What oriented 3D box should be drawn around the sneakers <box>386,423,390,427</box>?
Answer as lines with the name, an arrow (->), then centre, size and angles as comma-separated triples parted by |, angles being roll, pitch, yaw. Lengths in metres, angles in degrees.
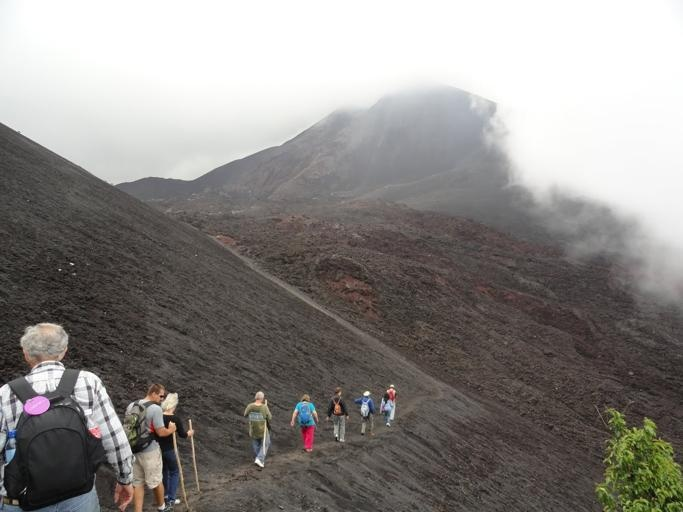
sneakers -> 1.535, 5.555, 17.192 | 0.165, 0.089, 0.179 | 5, 4, -1

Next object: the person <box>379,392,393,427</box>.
person -> 1.522, 5.093, 17.405 | 0.401, 0.775, 0.643 | 6, 4, 9

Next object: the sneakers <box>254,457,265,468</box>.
sneakers -> -2.054, 5.127, 12.911 | 0.305, 0.141, 0.131 | 48, -6, -3

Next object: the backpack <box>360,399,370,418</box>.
backpack -> 0.724, 4.642, 15.934 | 0.248, 0.624, 0.298 | 6, 4, 8
